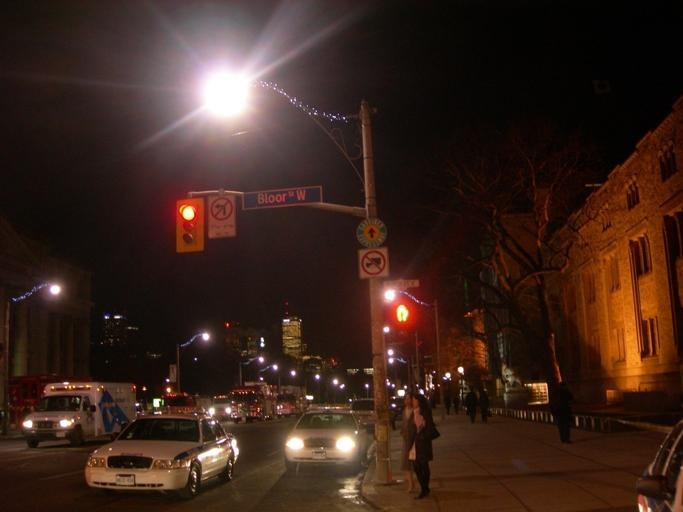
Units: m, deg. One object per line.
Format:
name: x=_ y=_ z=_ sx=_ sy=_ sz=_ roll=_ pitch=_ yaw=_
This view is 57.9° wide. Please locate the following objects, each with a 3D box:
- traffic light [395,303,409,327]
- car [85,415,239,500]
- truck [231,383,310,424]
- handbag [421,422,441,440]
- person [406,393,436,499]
traffic light: x=2.567 y=2.526 z=26.054 sx=0.819 sy=1.292 sz=0.129 roll=1 pitch=-5 yaw=-18
car: x=-4.456 y=5.226 z=16.231 sx=2.263 sy=2.194 sz=3.740 roll=-12 pitch=-21 yaw=26
truck: x=-8.014 y=16.601 z=69.274 sx=3.129 sy=3.742 sz=17.383 roll=-3 pitch=-17 yaw=6
handbag: x=2.235 y=4.212 z=14.829 sx=0.245 sy=0.388 sz=0.551 roll=-16 pitch=-23 yaw=36
person: x=1.984 y=4.554 z=14.912 sx=0.676 sy=2.429 sz=0.674 roll=-4 pitch=-16 yaw=5
